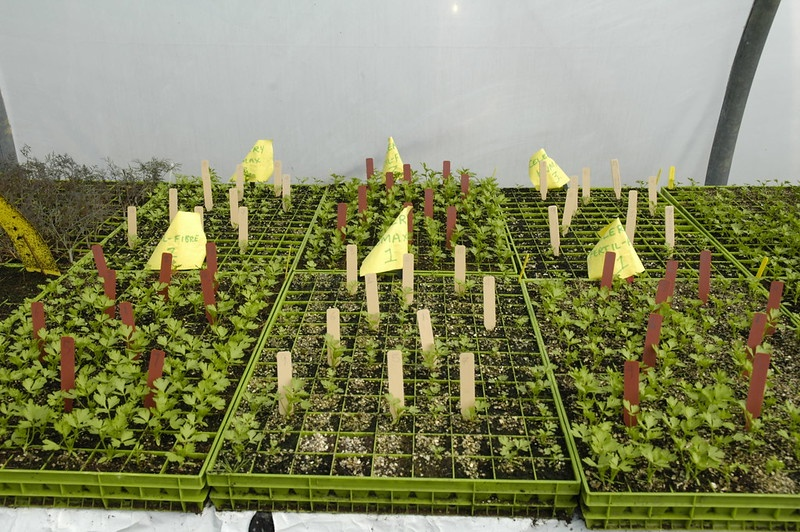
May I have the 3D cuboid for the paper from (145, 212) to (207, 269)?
[{"bbox_3d":[-2.756,-0.301,7.077,0.709,0.748,0.055,-2,-6,-10],"label":"paper"}]

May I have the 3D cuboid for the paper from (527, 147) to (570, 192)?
[{"bbox_3d":[2.260,-1.455,8.809,0.344,0.813,0.645,-46,-10,31],"label":"paper"}]
